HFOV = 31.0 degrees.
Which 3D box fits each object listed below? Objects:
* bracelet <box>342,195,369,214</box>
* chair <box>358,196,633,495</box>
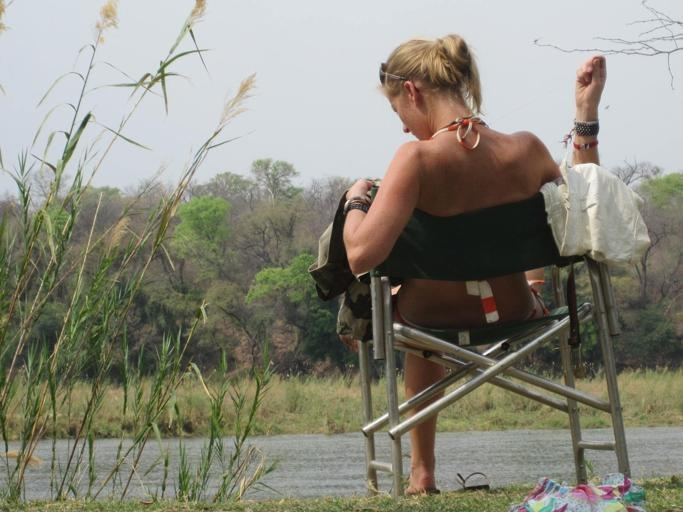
[{"bbox_3d":[0.111,-0.392,9.241,0.144,0.123,0.170,-1,1,-2],"label":"bracelet"},{"bbox_3d":[1.154,0.844,9.910,2.274,2.888,1.598,-3,-7,1],"label":"chair"}]
